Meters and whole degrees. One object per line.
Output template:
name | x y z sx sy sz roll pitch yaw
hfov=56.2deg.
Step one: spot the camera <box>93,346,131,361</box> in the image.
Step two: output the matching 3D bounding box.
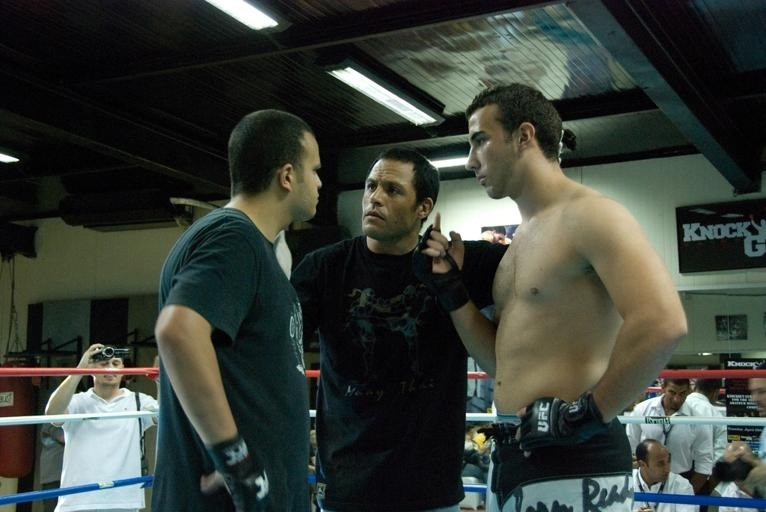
camera | -2.229 0.805 5.925 0.265 0.097 0.258 -1 -5 -28
